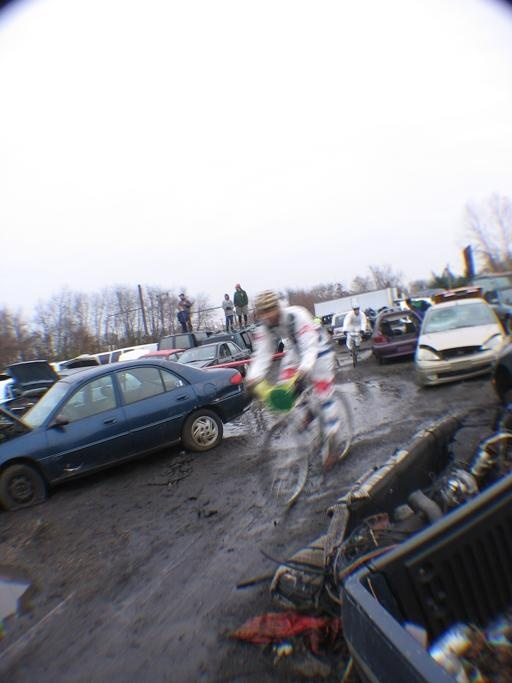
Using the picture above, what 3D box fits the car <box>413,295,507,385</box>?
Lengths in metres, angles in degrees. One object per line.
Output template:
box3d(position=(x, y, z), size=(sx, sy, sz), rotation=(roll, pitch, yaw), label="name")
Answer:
box3d(position=(4.236, -0.006, 8.282), size=(1.696, 1.744, 2.131), rotation=(-11, 0, 26), label="car")

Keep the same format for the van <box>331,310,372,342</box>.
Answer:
box3d(position=(5.610, -0.839, 24.829), size=(1.726, 1.560, 3.224), rotation=(-4, -3, 5), label="van")

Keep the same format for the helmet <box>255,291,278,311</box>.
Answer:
box3d(position=(0.106, -0.431, 4.365), size=(0.250, 0.183, 0.255), rotation=(-9, 11, 31), label="helmet")

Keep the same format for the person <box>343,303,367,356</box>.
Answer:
box3d(position=(3.286, -0.384, 12.987), size=(0.772, 1.524, 1.867), rotation=(-11, 0, 16), label="person")
